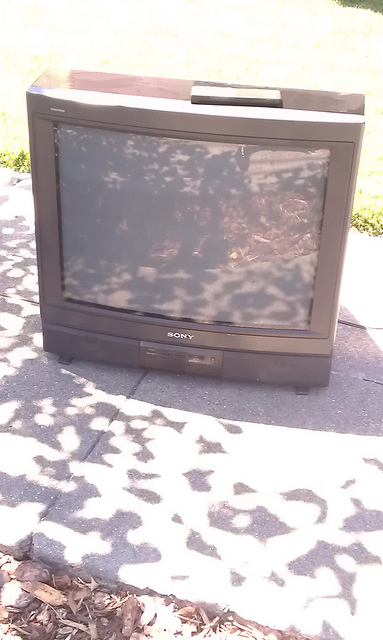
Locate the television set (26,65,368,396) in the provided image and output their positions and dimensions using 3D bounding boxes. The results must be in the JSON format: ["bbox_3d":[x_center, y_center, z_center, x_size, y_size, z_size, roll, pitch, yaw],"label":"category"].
[{"bbox_3d":[-0.021,-0.366,3.204,1.764,1.752,0.451,11,30,12],"label":"television set"}]
